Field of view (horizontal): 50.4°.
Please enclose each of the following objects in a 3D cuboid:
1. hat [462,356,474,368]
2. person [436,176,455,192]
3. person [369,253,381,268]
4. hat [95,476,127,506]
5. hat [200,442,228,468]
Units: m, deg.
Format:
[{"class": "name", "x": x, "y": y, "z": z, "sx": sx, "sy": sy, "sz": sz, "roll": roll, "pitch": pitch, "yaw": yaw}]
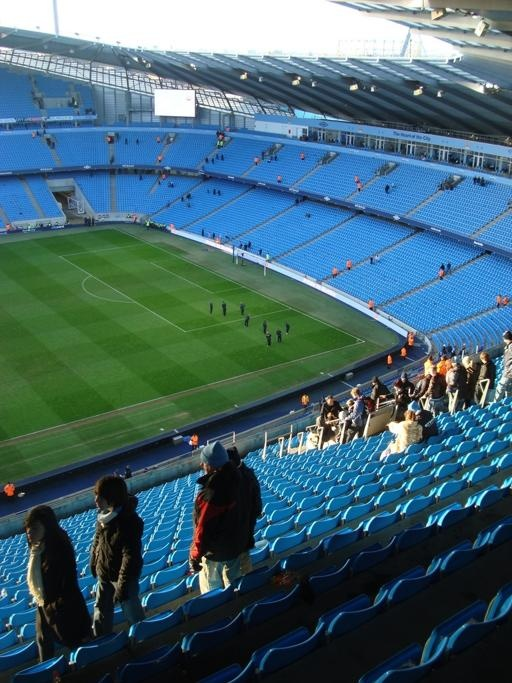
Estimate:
[{"class": "hat", "x": 6.008, "y": 0.613, "z": 15.450, "sx": 0.218, "sy": 0.119, "sz": 0.281, "roll": 27, "pitch": 75, "yaw": 42}, {"class": "person", "x": 16.101, "y": -13.244, "z": 45.704, "sx": 1.753, "sy": 0.419, "sz": 1.000, "roll": -45, "pitch": 69, "yaw": -1}, {"class": "person", "x": 9.650, "y": -6.561, "z": 44.253, "sx": 0.932, "sy": 0.236, "sz": 1.042, "roll": -43, "pitch": 51, "yaw": -9}, {"class": "hat", "x": -1.204, "y": 1.285, "z": 4.635, "sx": 0.234, "sy": 0.255, "sz": 0.285, "roll": 1, "pitch": 17, "yaw": -10}, {"class": "hat", "x": -0.394, "y": 1.025, "z": 5.073, "sx": 0.216, "sy": 0.184, "sz": 0.274, "roll": -4, "pitch": 30, "yaw": -22}]
